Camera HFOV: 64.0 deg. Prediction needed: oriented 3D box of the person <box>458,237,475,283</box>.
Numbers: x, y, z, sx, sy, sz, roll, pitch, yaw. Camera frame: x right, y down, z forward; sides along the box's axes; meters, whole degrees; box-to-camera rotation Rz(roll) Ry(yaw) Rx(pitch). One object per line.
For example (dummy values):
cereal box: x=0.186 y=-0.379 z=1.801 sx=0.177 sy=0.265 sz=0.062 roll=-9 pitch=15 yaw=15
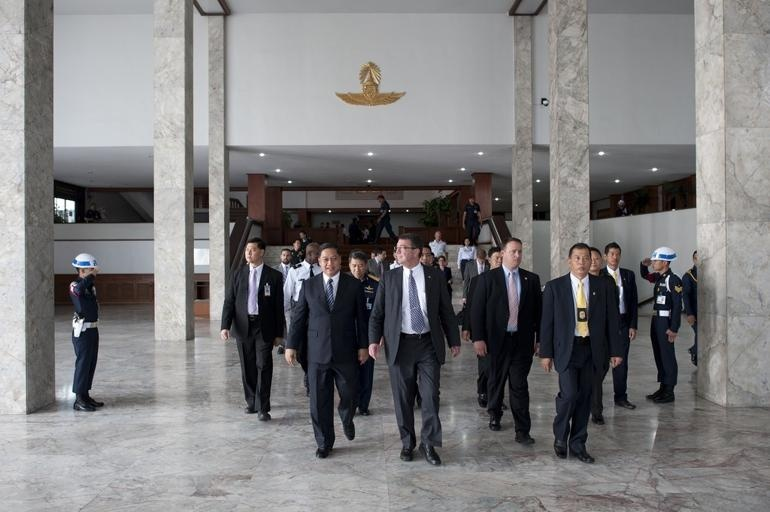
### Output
person: x=2.085 y=0.148 z=15.444 sx=0.521 sy=1.318 sz=0.366 roll=-6 pitch=25 yaw=0

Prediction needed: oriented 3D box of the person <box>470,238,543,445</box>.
person: x=1.478 y=0.962 z=7.379 sx=0.882 sy=2.234 sz=0.836 roll=0 pitch=-2 yaw=15

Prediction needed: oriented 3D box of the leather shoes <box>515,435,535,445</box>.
leather shoes: x=1.563 y=2.065 z=6.929 sx=0.084 sy=0.138 sz=0.203 roll=5 pitch=-16 yaw=-35

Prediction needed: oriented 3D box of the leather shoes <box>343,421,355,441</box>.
leather shoes: x=-0.398 y=1.985 z=7.013 sx=0.106 sy=0.251 sz=0.101 roll=-4 pitch=8 yaw=19

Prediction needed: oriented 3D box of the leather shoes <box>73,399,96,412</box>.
leather shoes: x=-3.814 y=1.923 z=7.932 sx=0.344 sy=0.154 sz=0.119 roll=2 pitch=-6 yaw=2

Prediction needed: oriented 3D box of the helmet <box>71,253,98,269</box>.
helmet: x=-3.876 y=0.074 z=7.976 sx=0.235 sy=0.172 sz=0.187 roll=-4 pitch=11 yaw=-21

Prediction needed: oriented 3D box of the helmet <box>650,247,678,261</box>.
helmet: x=4.700 y=-0.042 z=10.323 sx=0.349 sy=0.250 sz=0.478 roll=-4 pitch=10 yaw=-37

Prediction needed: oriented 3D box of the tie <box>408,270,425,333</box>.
tie: x=0.315 y=0.497 z=6.599 sx=0.128 sy=0.628 sz=0.204 roll=-8 pitch=13 yaw=-37

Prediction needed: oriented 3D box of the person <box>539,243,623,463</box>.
person: x=2.102 y=1.010 z=6.653 sx=0.833 sy=2.242 sz=0.664 roll=3 pitch=11 yaw=19

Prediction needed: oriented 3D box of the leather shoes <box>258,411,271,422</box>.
leather shoes: x=-1.476 y=1.967 z=7.568 sx=0.141 sy=0.134 sz=0.092 roll=2 pitch=-2 yaw=2

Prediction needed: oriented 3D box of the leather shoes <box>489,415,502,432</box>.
leather shoes: x=1.292 y=1.970 z=7.270 sx=0.092 sy=0.203 sz=0.215 roll=2 pitch=3 yaw=15

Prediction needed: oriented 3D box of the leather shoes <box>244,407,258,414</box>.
leather shoes: x=-1.709 y=1.961 z=7.831 sx=0.134 sy=0.059 sz=0.065 roll=-3 pitch=-4 yaw=19

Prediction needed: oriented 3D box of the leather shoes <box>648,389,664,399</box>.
leather shoes: x=3.603 y=1.856 z=8.300 sx=0.284 sy=0.110 sz=0.095 roll=1 pitch=-2 yaw=-19

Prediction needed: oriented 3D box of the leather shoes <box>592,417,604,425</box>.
leather shoes: x=2.587 y=2.010 z=7.466 sx=0.059 sy=0.064 sz=0.152 roll=1 pitch=-10 yaw=-3

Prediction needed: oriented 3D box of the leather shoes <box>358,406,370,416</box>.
leather shoes: x=-0.249 y=1.959 z=7.760 sx=0.066 sy=0.076 sz=0.177 roll=2 pitch=-9 yaw=-17

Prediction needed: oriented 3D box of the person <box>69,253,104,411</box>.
person: x=-3.963 y=0.975 z=8.124 sx=0.427 sy=1.998 sz=0.942 roll=-6 pitch=11 yaw=-27

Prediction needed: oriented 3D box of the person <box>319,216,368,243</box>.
person: x=-1.802 y=-1.161 z=26.648 sx=1.782 sy=1.097 sz=0.943 roll=0 pitch=-3 yaw=-14

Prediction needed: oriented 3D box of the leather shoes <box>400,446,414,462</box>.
leather shoes: x=0.238 y=2.100 z=6.610 sx=0.160 sy=0.129 sz=0.145 roll=-1 pitch=10 yaw=-7

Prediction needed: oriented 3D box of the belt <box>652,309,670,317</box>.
belt: x=3.712 y=0.757 z=8.263 sx=0.196 sy=0.094 sz=0.072 roll=7 pitch=12 yaw=34

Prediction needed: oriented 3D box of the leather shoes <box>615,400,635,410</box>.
leather shoes: x=3.102 y=1.923 z=7.982 sx=0.240 sy=0.100 sz=0.091 roll=-2 pitch=-4 yaw=38

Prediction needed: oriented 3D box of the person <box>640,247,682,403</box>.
person: x=3.744 y=0.920 z=8.285 sx=0.391 sy=1.987 sz=0.775 roll=4 pitch=11 yaw=24

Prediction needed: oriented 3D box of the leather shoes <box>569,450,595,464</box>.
leather shoes: x=2.099 y=2.123 z=6.539 sx=0.098 sy=0.110 sz=0.275 roll=11 pitch=-12 yaw=-41

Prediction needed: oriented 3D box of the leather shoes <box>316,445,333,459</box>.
leather shoes: x=-0.665 y=2.120 z=6.653 sx=0.078 sy=0.083 sz=0.204 roll=-4 pitch=-9 yaw=45

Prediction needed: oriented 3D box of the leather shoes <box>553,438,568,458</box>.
leather shoes: x=1.885 y=2.076 z=6.620 sx=0.093 sy=0.097 sz=0.232 roll=1 pitch=2 yaw=2

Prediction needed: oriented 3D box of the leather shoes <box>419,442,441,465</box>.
leather shoes: x=0.474 y=2.097 z=6.567 sx=0.118 sy=0.134 sz=0.315 roll=7 pitch=3 yaw=-27

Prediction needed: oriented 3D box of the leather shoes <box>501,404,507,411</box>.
leather shoes: x=1.523 y=1.924 z=7.850 sx=0.072 sy=0.085 sz=0.200 roll=-2 pitch=-12 yaw=3

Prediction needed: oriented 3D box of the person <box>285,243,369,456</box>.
person: x=-0.655 y=1.045 z=6.909 sx=1.004 sy=2.220 sz=0.677 roll=-2 pitch=-1 yaw=-13

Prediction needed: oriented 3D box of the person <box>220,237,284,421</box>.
person: x=-1.671 y=0.904 z=7.722 sx=0.688 sy=2.156 sz=0.584 roll=3 pitch=11 yaw=19

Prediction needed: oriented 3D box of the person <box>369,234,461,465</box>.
person: x=0.293 y=0.958 z=6.678 sx=0.889 sy=2.352 sz=0.671 roll=5 pitch=12 yaw=28

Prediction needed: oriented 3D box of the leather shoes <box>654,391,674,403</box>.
leather shoes: x=3.706 y=1.864 z=8.182 sx=0.319 sy=0.193 sz=0.124 roll=2 pitch=-2 yaw=1

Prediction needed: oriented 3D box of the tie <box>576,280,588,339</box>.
tie: x=2.118 y=0.558 z=6.633 sx=0.127 sy=0.565 sz=0.206 roll=1 pitch=10 yaw=5
